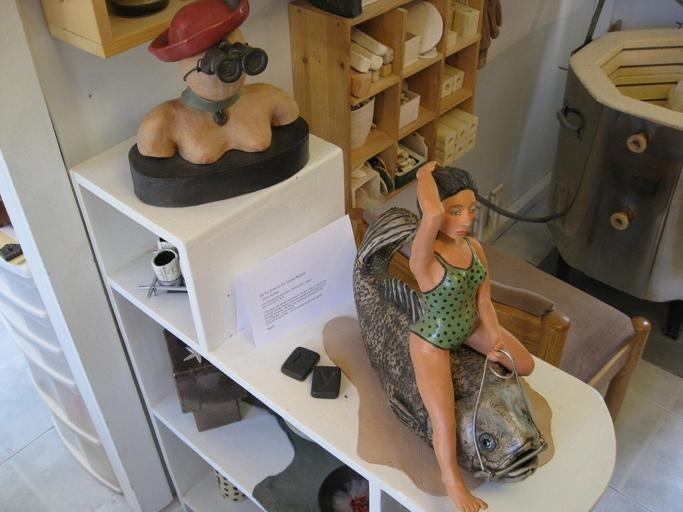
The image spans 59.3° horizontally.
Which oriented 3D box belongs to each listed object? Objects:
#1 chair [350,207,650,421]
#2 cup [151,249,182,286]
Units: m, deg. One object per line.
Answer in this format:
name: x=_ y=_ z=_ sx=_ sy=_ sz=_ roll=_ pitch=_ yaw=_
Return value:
chair: x=0.519 y=0.176 z=1.792 sx=0.403 sy=0.732 sz=0.477 roll=32 pitch=74 yaw=16
cup: x=-0.477 y=0.033 z=1.676 sx=0.064 sy=0.096 sz=0.114 roll=-7 pitch=38 yaw=-9
